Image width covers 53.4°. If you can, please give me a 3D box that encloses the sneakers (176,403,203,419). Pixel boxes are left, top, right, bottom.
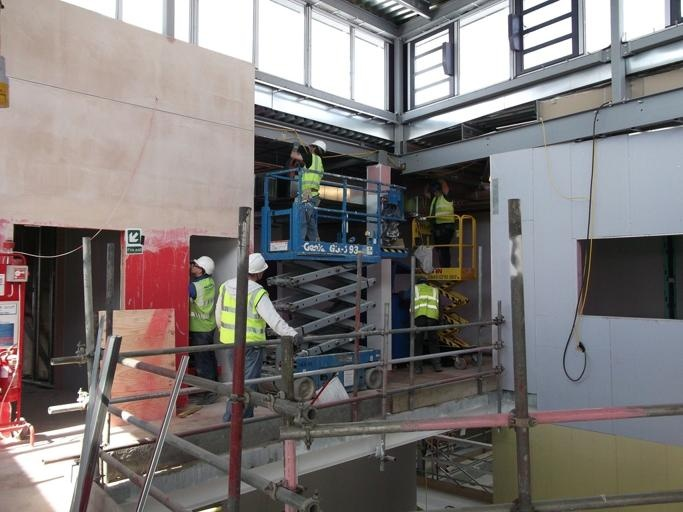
[{"bbox_3d":[-2.213,2.256,9.830,0.105,0.049,0.475,7,1,12],"label":"sneakers"}]

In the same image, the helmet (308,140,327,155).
[{"bbox_3d":[-0.446,-2.086,13.035,0.178,0.248,0.326,-32,24,-16],"label":"helmet"}]

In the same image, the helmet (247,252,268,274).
[{"bbox_3d":[-1.129,0.065,9.209,0.262,0.189,0.351,11,31,16],"label":"helmet"}]
